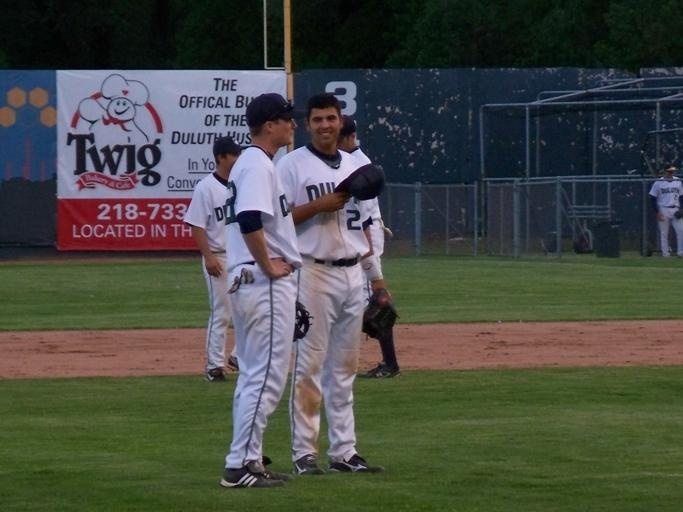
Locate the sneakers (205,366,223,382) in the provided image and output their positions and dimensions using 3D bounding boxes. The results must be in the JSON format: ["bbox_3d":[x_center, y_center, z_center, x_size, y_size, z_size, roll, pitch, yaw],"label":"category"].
[{"bbox_3d":[-2.490,2.310,35.424,0.330,0.264,0.229,4,-3,6],"label":"sneakers"}]
